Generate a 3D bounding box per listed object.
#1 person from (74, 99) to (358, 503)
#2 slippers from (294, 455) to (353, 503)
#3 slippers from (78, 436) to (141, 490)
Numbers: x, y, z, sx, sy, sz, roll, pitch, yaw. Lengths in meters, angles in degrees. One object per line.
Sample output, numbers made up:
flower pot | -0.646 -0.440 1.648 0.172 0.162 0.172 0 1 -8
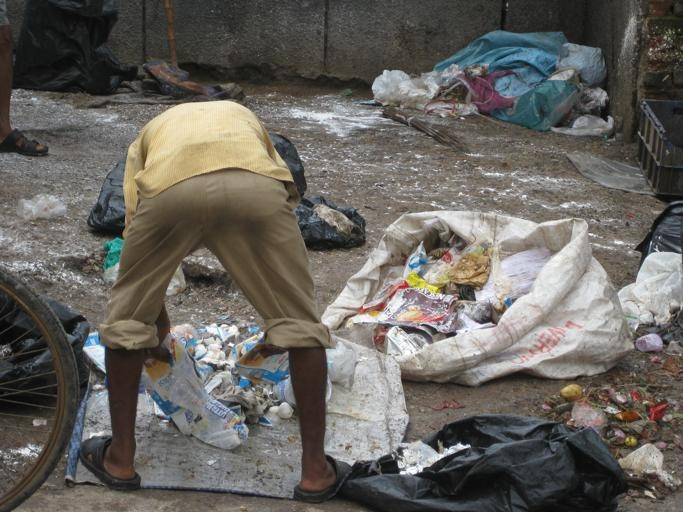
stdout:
person | -0.507 0.204 3.957 1.147 1.793 0.534 5 17 0
slippers | -0.062 1.049 4.039 0.150 0.114 0.325 15 22 38
slippers | -1.126 0.985 4.038 0.350 0.130 0.177 35 27 23
